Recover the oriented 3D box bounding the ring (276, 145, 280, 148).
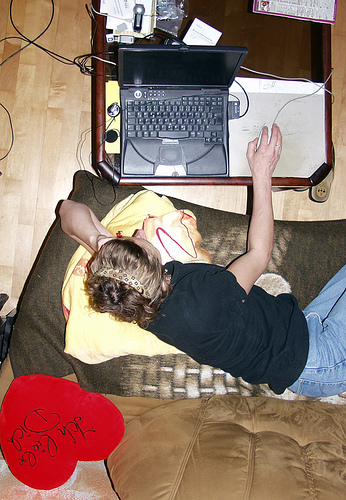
[{"bbox_3d":[0.345,-0.343,1.447,0.012,0.005,0.008,0,81,-2],"label":"ring"}]

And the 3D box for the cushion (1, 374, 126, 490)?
[{"bbox_3d":[-0.395,0.588,1.453,0.344,0.088,0.341,-43,92,-20],"label":"cushion"}]

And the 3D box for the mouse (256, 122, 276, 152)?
[{"bbox_3d":[0.311,-0.368,1.471,0.038,0.043,0.108,11,98,2],"label":"mouse"}]

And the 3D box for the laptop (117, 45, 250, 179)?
[{"bbox_3d":[0.020,-0.393,1.500,0.504,0.366,0.416,-2,95,-4],"label":"laptop"}]

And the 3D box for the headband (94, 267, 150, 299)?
[{"bbox_3d":[-0.134,0.074,1.122,0.096,0.085,0.037,24,77,-33],"label":"headband"}]
